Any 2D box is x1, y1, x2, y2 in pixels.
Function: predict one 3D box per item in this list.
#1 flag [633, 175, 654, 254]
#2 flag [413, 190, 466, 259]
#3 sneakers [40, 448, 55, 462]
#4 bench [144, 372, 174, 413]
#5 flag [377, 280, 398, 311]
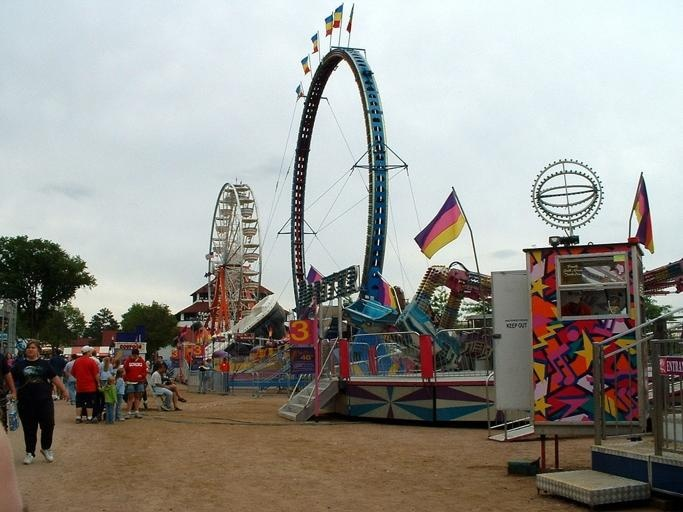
[{"bbox_3d":[8.653,-1.253,19.949,0.571,2.510,0.267,6,35,33],"label":"flag"},{"bbox_3d":[3.167,-1.027,22.510,1.604,0.344,4.016,-10,-28,-6],"label":"flag"},{"bbox_3d":[-5.182,3.492,12.363,0.163,0.231,0.481,6,-2,-41],"label":"sneakers"},{"bbox_3d":[-6.046,4.552,23.706,0.937,1.303,0.935,-3,-5,31],"label":"bench"},{"bbox_3d":[2.700,2.136,38.707,0.576,1.350,1.908,-4,-9,19],"label":"flag"}]
